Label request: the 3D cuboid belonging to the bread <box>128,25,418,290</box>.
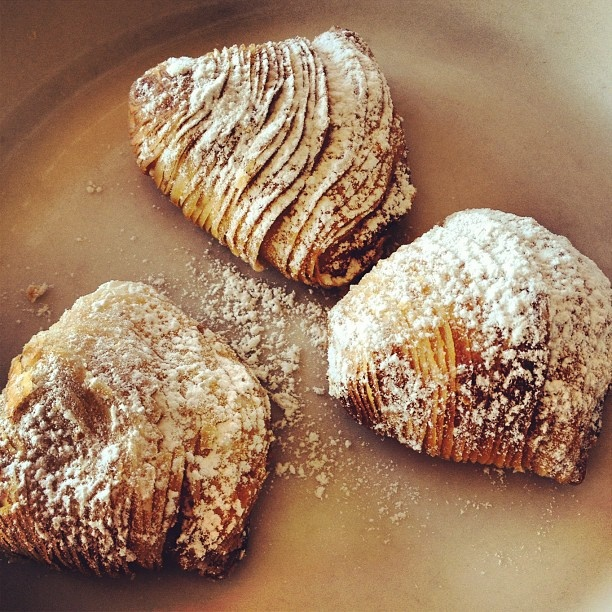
[{"bbox_3d":[-0.050,-0.246,1.441,0.442,0.198,0.438,-27,69,-1],"label":"bread"}]
